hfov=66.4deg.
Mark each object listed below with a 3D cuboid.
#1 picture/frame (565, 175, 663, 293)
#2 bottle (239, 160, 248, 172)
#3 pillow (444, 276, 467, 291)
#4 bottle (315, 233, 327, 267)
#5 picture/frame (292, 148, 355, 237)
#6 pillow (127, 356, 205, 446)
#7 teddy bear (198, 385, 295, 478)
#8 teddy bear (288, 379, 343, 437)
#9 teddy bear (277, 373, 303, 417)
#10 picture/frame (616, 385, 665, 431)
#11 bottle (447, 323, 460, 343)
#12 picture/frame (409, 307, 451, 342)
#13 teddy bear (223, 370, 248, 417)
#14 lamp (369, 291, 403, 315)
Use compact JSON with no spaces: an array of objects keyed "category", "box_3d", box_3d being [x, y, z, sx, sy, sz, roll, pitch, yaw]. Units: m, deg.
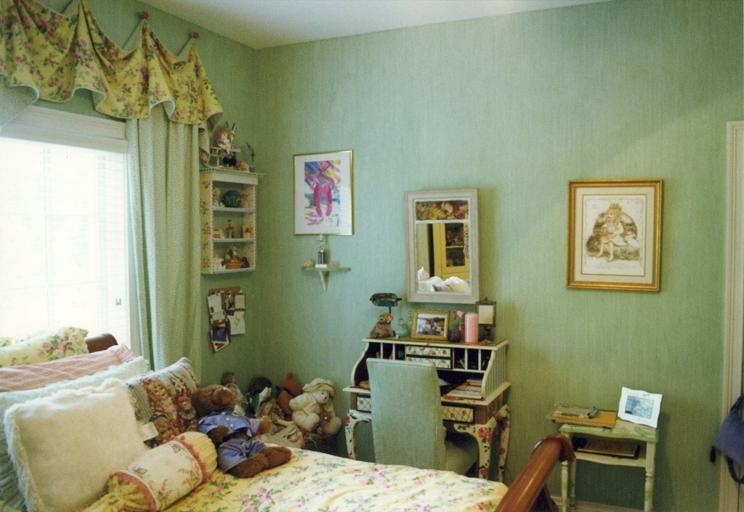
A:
[{"category":"picture/frame","box_3d":[1.766,-0.171,4.089,0.860,1.125,0.049,1,1,24]},{"category":"bottle","box_3d":[-1.089,-0.763,4.822,0.034,0.084,0.088,-11,-10,37]},{"category":"pillow","box_3d":[0.658,0.223,4.426,0.097,0.065,0.134,8,1,25]},{"category":"bottle","box_3d":[-0.427,-0.049,4.858,0.103,0.278,0.180,-1,3,-5]},{"category":"picture/frame","box_3d":[-0.388,-0.553,4.870,0.786,0.942,0.037,-1,0,20]},{"category":"pillow","box_3d":[-1.208,0.879,3.423,0.118,0.375,0.403,-21,-10,37]},{"category":"teddy bear","box_3d":[-0.832,1.084,3.577,0.628,0.530,0.480,-4,-5,26]},{"category":"teddy bear","box_3d":[-0.466,1.249,4.774,0.457,0.515,0.371,25,-27,-28]},{"category":"teddy bear","box_3d":[-0.726,1.211,4.935,0.121,0.296,0.231,-17,-36,23]},{"category":"picture/frame","box_3d":[1.857,1.067,3.925,0.309,0.309,0.025,4,-17,39]},{"category":"bottle","box_3d":[0.628,0.592,4.316,0.095,0.101,0.112,1,-5,11]},{"category":"picture/frame","box_3d":[0.456,0.539,4.382,0.253,0.217,0.028,1,-14,20]},{"category":"teddy bear","box_3d":[-1.130,1.123,4.730,0.194,0.374,0.230,-12,-7,5]},{"category":"lamp","box_3d":[0.103,0.401,4.575,0.226,0.209,0.169,-1,-5,14]}]
